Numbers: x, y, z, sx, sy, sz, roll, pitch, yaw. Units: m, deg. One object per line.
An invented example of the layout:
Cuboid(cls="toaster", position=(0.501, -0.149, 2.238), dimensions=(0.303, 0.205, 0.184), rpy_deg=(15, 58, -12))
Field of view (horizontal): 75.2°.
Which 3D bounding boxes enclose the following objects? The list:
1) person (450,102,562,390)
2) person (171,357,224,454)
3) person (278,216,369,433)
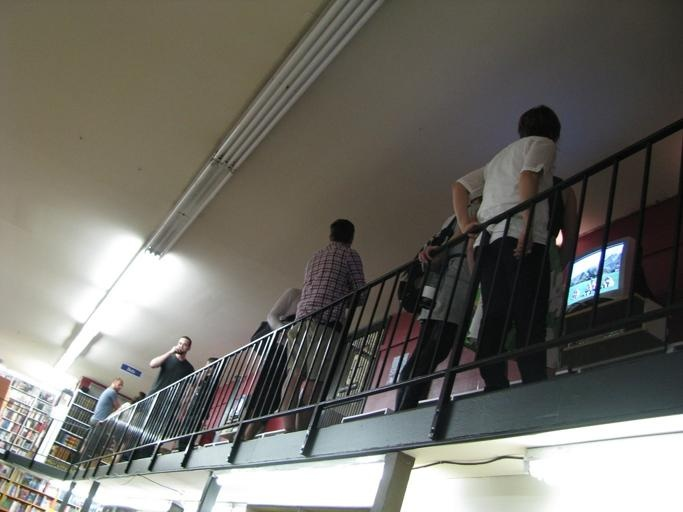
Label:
Cuboid(cls="person", position=(0.991, -0.086, 2.550), dimensions=(0.458, 1.644, 0.671), rpy_deg=(35, -38, -25))
Cuboid(cls="person", position=(-1.648, 1.694, 5.095), dimensions=(0.269, 1.046, 1.680), rpy_deg=(23, -35, -11))
Cuboid(cls="person", position=(-0.160, 0.502, 3.726), dimensions=(0.518, 1.835, 0.913), rpy_deg=(19, -34, -4))
